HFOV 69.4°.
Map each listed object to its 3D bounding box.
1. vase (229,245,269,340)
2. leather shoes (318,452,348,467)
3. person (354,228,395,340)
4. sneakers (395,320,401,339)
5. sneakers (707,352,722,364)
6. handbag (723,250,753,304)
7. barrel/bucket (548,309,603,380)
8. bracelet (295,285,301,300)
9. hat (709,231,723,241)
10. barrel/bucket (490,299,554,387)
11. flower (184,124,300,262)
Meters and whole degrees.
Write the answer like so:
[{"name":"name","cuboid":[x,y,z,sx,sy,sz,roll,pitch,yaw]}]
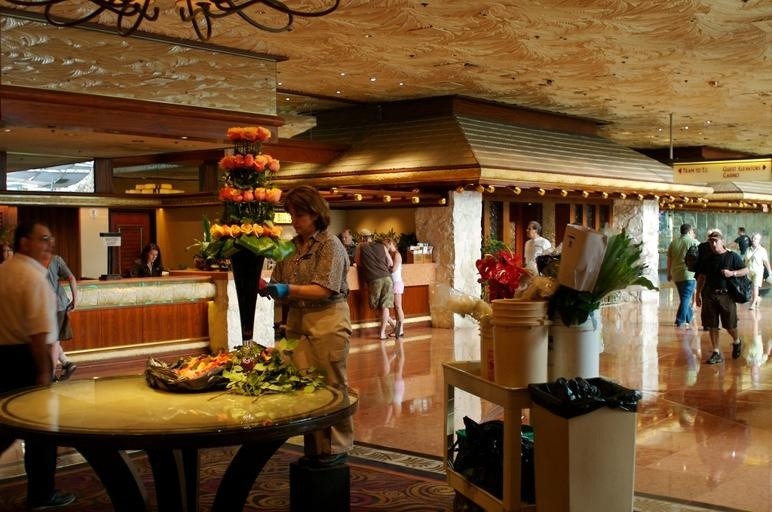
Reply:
[{"name":"vase","cuboid":[-0.847,0.239,3.412,0.196,0.577,0.471,0,8,-15]},{"name":"leather shoes","cuboid":[-0.339,1.317,3.612,0.089,0.050,0.158,-3,-7,40]},{"name":"person","cuboid":[-0.228,0.568,11.231,0.812,2.171,1.048,2,8,-3]},{"name":"sneakers","cuboid":[0.242,1.489,11.310,0.145,0.296,0.137,1,-4,-4]},{"name":"sneakers","cuboid":[4.939,1.546,8.385,0.395,0.128,0.128,2,-6,-40]},{"name":"handbag","cuboid":[5.284,0.319,8.341,0.301,0.816,0.582,10,11,42]},{"name":"barrel/bucket","cuboid":[1.197,0.545,3.395,0.429,0.433,0.214,-2,9,-31]},{"name":"bracelet","cuboid":[-0.596,0.243,3.769,0.056,0.095,0.104,1,7,-9]},{"name":"hat","cuboid":[5.086,-0.326,8.621,0.214,0.072,0.275,-5,-4,31]},{"name":"barrel/bucket","cuboid":[0.792,0.523,3.313,0.333,0.512,0.151,4,8,9]},{"name":"flower","cuboid":[-0.871,-0.418,3.597,0.507,0.892,0.607,0,8,-19]}]
